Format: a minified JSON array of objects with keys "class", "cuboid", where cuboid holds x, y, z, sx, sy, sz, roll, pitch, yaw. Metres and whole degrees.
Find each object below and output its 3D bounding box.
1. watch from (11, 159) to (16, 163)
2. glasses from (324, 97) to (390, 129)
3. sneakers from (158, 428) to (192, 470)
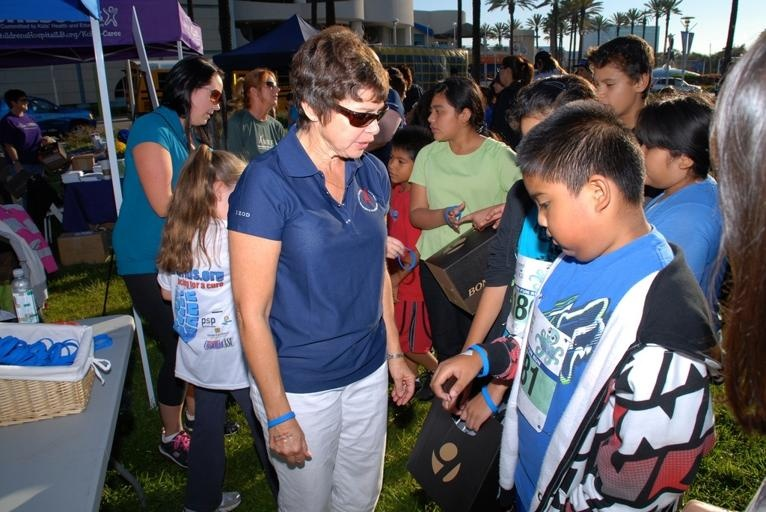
[{"class":"watch","cuboid":[-6.279,-1.636,8.433,0.048,0.013,0.052,-4,-22,-3]},{"class":"glasses","cuboid":[-0.076,-0.616,2.152,0.104,0.111,0.285,11,16,40]},{"class":"sneakers","cuboid":[-1.482,1.409,3.629,0.351,0.181,0.143,14,1,13]}]
